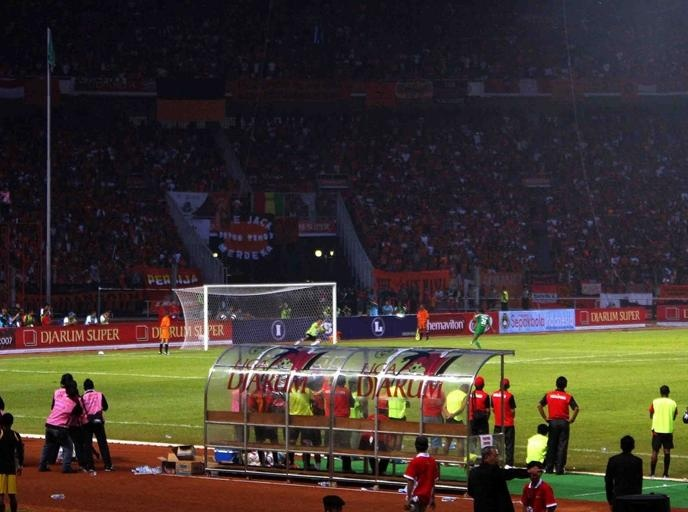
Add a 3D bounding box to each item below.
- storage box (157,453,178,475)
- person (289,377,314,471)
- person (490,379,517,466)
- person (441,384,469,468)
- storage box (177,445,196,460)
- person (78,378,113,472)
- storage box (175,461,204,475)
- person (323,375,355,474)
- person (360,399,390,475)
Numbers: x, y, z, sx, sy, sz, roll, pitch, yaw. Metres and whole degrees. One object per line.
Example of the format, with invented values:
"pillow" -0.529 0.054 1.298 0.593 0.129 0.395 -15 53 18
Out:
"storage box" -7.927 9.252 64.454 0.945 0.623 0.871 3 -5 -38
"person" -1.874 7.407 63.712 1.042 4.005 0.420 -1 -1 -3
"person" 7.159 7.347 63.912 0.914 3.659 1.266 2 7 -5
"person" 4.889 7.197 63.158 1.043 2.897 0.798 -1 1 12
"storage box" -7.062 8.716 64.586 0.672 0.432 0.638 3 9 2
"person" -11.233 7.443 64.817 1.338 3.987 1.185 -3 -2 -29
"storage box" -6.849 9.389 64.139 1.253 0.667 0.190 -1 -1 -6
"person" -0.230 7.394 63.420 1.250 4.205 0.482 -1 -1 -15
"person" 1.352 7.886 63.270 1.285 3.181 0.943 -1 2 33
